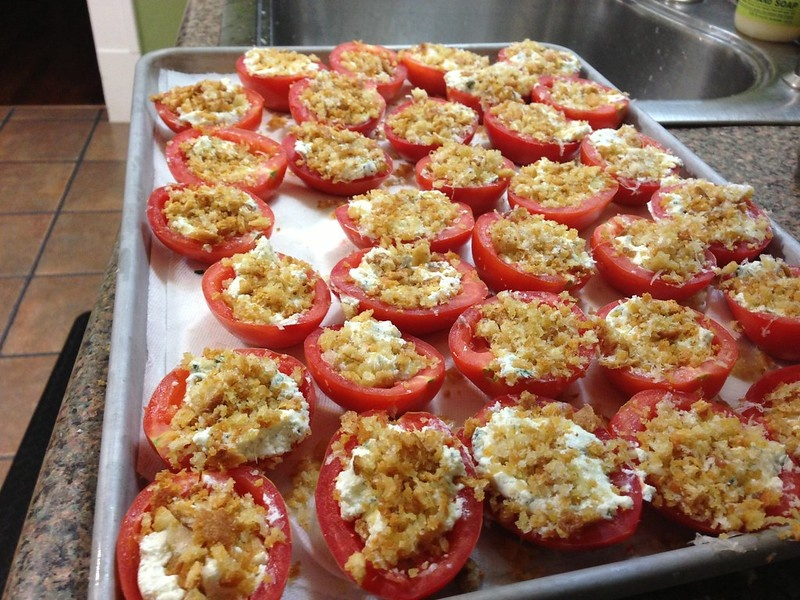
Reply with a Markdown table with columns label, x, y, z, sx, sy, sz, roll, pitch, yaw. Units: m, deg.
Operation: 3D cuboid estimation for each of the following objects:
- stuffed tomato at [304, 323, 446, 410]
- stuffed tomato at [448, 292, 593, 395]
| label | x | y | z | sx | sy | sz | roll | pitch | yaw |
| --- | --- | --- | --- | --- | --- | --- | --- | --- | --- |
| stuffed tomato | -0.068 | 0.151 | 1.695 | 0.328 | 0.109 | 0.219 | 13 | 52 | 7 |
| stuffed tomato | 0.291 | 0.153 | 1.773 | 0.271 | 0.142 | 0.259 | -17 | 45 | -14 |
